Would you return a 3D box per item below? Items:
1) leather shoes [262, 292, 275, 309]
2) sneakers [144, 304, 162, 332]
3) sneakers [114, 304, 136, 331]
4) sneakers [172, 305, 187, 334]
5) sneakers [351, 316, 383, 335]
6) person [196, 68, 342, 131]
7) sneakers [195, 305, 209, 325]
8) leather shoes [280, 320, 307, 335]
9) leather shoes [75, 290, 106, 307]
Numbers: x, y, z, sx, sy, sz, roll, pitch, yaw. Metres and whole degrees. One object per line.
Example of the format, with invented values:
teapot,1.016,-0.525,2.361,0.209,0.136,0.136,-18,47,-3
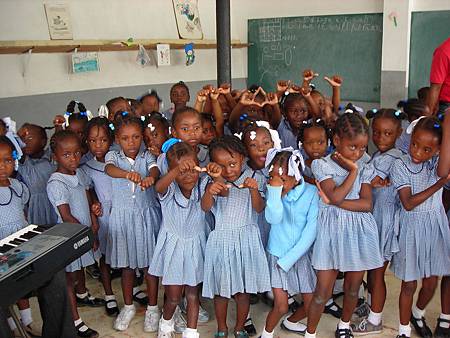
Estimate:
leather shoes,0.299,0.925,2.748,0.040,0.054,0.134,-11,12,-32
sneakers,-0.464,0.959,2.490,0.085,0.098,0.166,0,3,2
sneakers,-0.644,0.960,2.573,0.079,0.080,0.187,10,33,13
sneakers,-0.290,0.976,2.510,0.065,0.078,0.195,-4,58,-4
sneakers,0.869,0.982,2.451,0.219,0.087,0.078,1,5,2
person,0.421,-0.640,3.473,1.353,0.418,0.451,-6,29,0
sneakers,-0.142,0.981,2.585,0.129,0.082,0.044,1,5,18
leather shoes,0.431,0.989,2.437,0.129,0.048,0.069,6,23,27
leather shoes,-0.961,0.923,2.791,0.196,0.084,0.087,-1,7,-2
